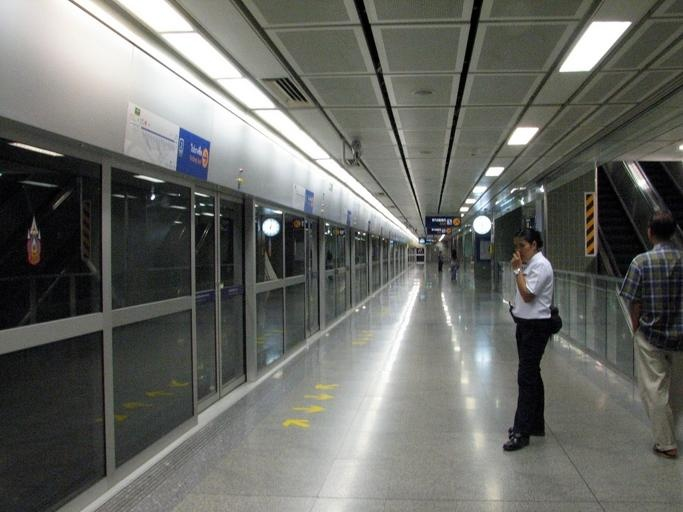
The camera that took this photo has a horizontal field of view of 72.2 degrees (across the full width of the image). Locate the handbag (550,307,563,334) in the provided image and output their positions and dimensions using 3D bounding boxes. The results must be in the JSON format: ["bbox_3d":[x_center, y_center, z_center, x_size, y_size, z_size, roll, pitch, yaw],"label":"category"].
[{"bbox_3d":[1.925,0.580,4.216,0.080,0.247,0.220,-3,-3,24],"label":"handbag"}]

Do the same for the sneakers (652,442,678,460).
[{"bbox_3d":[2.789,1.704,4.055,0.069,0.075,0.160,-3,-6,-33],"label":"sneakers"}]

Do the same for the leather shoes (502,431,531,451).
[{"bbox_3d":[1.565,1.664,4.223,0.299,0.146,0.107,9,-13,-41],"label":"leather shoes"}]

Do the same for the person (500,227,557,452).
[{"bbox_3d":[1.696,0.743,4.308,0.536,1.978,0.460,-2,-3,4],"label":"person"}]
